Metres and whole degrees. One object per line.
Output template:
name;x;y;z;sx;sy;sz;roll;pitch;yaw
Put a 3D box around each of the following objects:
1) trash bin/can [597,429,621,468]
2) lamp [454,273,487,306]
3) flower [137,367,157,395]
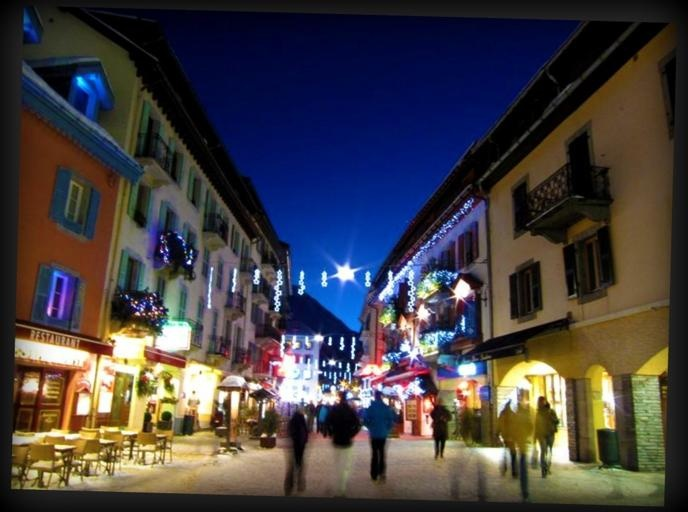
trash bin/can;7.224;5.239;13.575;0.519;0.981;0.386;-9;-22;26
lamp;5.830;1.519;23.003;1.035;1.681;1.666;10;-13;-13
flower;-7.944;4.927;19.891;0.908;0.787;0.691;14;20;31
